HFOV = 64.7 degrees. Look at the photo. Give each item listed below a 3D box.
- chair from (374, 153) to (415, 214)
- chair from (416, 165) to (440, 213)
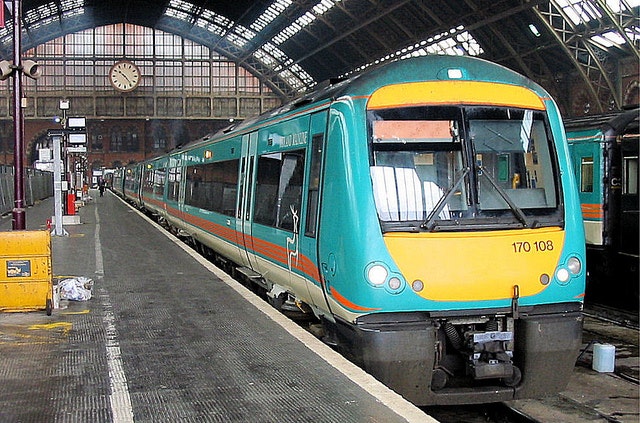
[{"bbox_3d":[0.923,-0.297,6.087,0.610,0.795,0.336,2,5,4],"label":"chair"},{"bbox_3d":[1.358,-0.235,6.128,0.304,0.608,0.227,2,5,6],"label":"chair"}]
